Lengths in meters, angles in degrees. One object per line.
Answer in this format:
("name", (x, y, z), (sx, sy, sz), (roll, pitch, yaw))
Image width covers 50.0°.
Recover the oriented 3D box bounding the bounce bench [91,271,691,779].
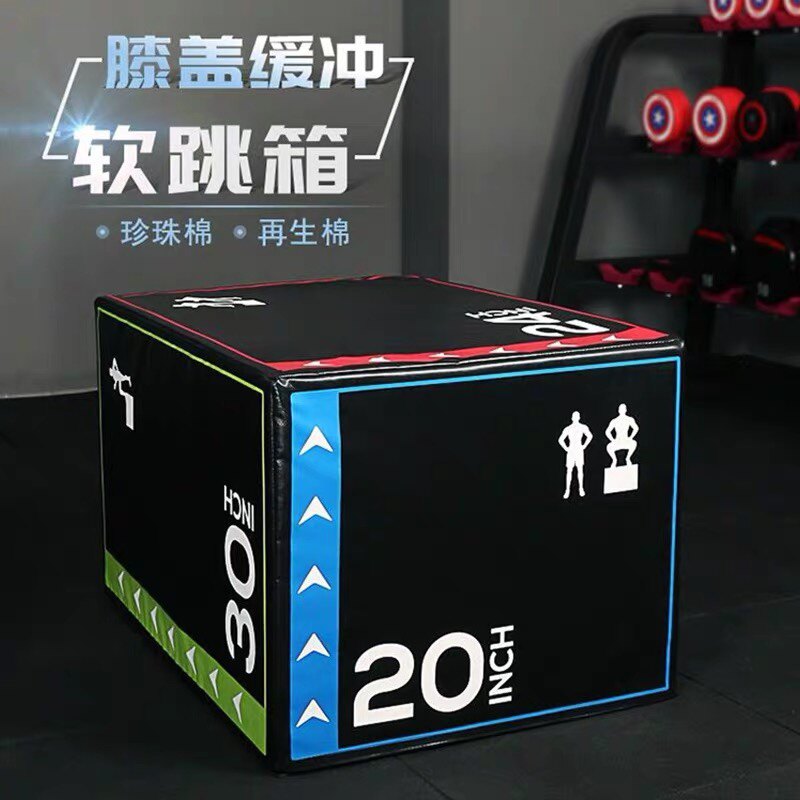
("bounce bench", (-0.095, 0.158, 1.762), (0.842, 0.675, 1.063), (-5, 11, -34))
